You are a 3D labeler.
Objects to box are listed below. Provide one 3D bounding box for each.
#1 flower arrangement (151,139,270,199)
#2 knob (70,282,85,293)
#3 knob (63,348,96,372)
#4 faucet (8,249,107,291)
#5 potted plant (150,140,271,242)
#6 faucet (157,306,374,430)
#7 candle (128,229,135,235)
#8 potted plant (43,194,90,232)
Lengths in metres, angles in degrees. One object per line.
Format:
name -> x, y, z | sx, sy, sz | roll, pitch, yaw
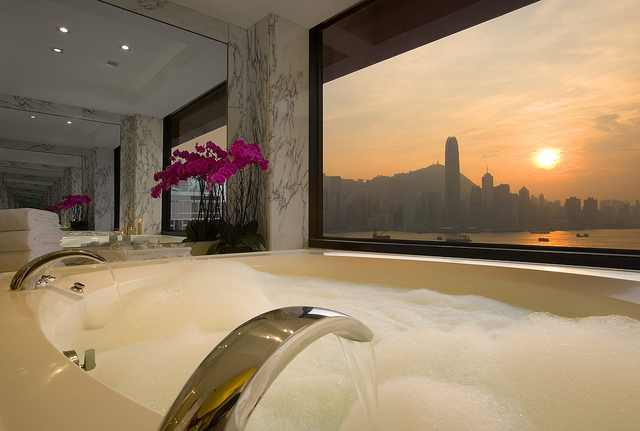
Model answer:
flower arrangement -> -0.771, -0.332, 2.687 | 0.657, 0.308, 0.433 | -11, 6, -44
knob -> -0.913, 0.261, 1.445 | 0.036, 0.021, 0.038 | 7, -6, 2
knob -> -0.720, 0.430, 1.147 | 0.101, 0.071, 0.100 | 8, -11, -36
faucet -> -0.931, 0.180, 1.371 | 0.299, 0.156, 0.113 | 6, 18, -25
potted plant -> -0.851, -0.118, 2.895 | 0.614, 0.809, 0.741 | -1, -6, 40
faucet -> -0.083, 0.271, 0.732 | 0.410, 0.167, 0.116 | 0, -2, -31
candle -> -1.285, 0.099, 2.606 | 0.029, 0.029, 0.028 | 7, -12, -43
potted plant -> -1.536, -0.012, 2.356 | 0.244, 0.265, 0.207 | 0, -4, -42
